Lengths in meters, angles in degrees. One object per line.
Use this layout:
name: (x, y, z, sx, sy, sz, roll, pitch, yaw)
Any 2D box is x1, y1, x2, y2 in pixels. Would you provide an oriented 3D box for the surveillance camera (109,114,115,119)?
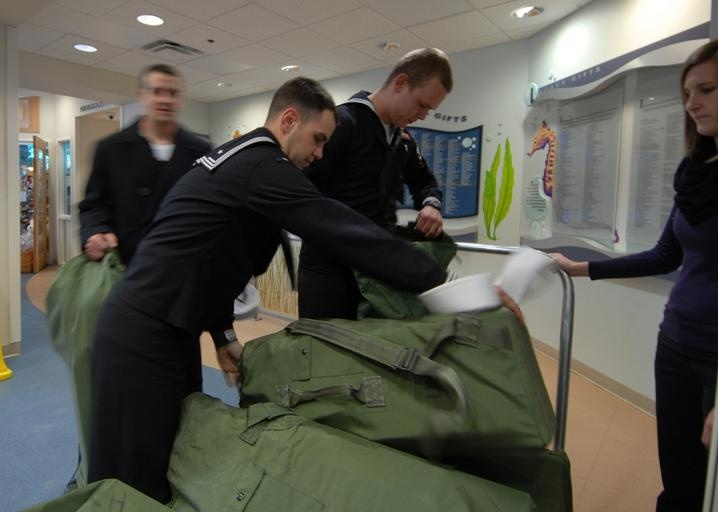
surveillance camera: (-4.499, -2.533, 8.761, 0.077, 0.062, 0.071, -6, 3, -36)
